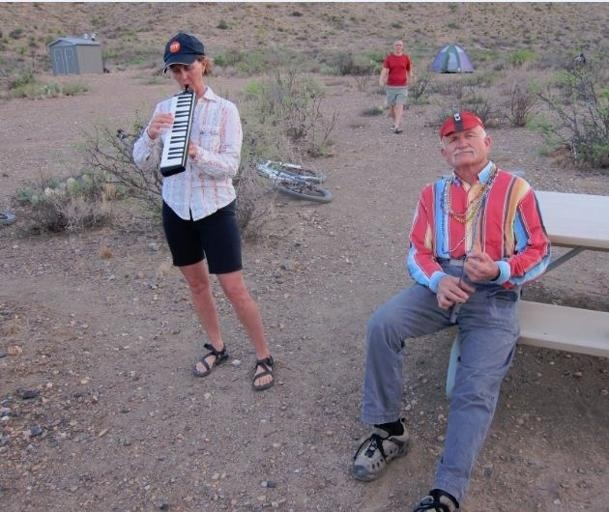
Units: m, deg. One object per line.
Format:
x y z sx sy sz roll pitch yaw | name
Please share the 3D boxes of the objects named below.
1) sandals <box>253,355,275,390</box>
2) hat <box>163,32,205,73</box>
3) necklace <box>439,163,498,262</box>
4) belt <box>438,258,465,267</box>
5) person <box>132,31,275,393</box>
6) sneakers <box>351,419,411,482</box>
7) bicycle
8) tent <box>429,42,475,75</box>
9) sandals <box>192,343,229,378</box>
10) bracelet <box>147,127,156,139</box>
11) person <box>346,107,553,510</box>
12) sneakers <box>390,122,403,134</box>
-0.299 0.866 3.696 0.098 0.117 0.289 -1 5 1 | sandals
-0.743 -1.212 3.274 0.187 0.172 0.273 -3 32 20 | hat
0.981 -0.199 3.184 0.328 0.563 0.126 7 1 34 | necklace
0.903 0.074 3.171 0.134 0.049 0.062 5 -14 14 | belt
-0.584 -0.193 3.502 0.710 2.274 0.487 4 24 14 | person
0.439 1.154 3.145 0.409 0.203 0.232 -34 26 -28 | sneakers
-0.169 -0.923 7.226 1.005 0.402 0.577 24 39 -17 | bicycle
6.171 -7.677 21.397 1.487 0.799 1.448 17 43 30 | tent
-0.706 0.804 3.849 0.127 0.182 0.331 21 42 30 | sandals
-0.954 -0.706 3.233 0.048 0.053 0.039 5 -4 9 | bracelet
0.870 0.297 2.987 0.798 1.918 1.293 13 27 31 | person
1.984 -2.510 11.081 0.143 0.203 0.448 -6 15 4 | sneakers
